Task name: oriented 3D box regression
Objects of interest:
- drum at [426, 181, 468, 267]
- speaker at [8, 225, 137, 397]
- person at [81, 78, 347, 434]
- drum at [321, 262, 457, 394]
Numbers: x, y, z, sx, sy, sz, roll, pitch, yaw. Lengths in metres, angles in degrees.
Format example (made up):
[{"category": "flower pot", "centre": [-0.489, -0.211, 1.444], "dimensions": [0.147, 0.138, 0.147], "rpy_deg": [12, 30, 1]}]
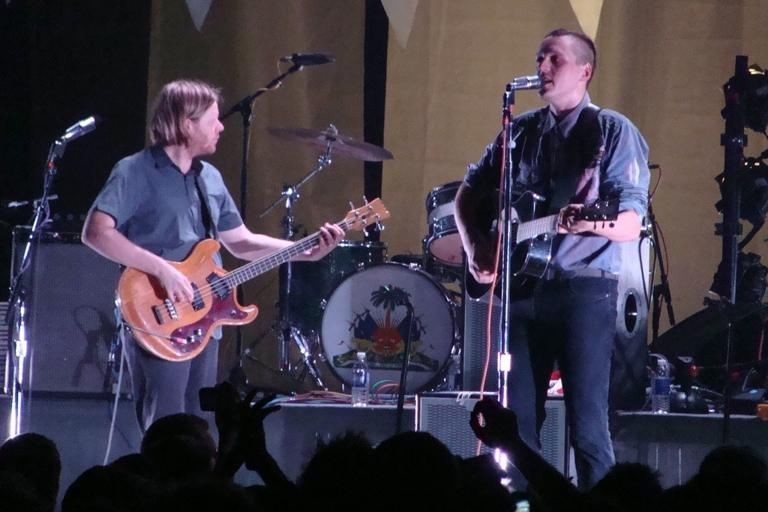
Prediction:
[{"category": "drum", "centre": [0.508, -0.341, 8.228], "dimensions": [0.344, 0.358, 0.360], "rpy_deg": [-11, 3, 2]}, {"category": "speaker", "centre": [-2.568, 0.396, 8.466], "dimensions": [1.184, 1.310, 1.226], "rpy_deg": [0, 8, -3]}, {"category": "person", "centre": [-1.309, 0.001, 6.816], "dimensions": [1.346, 2.344, 0.512], "rpy_deg": [9, -10, -42]}, {"category": "drum", "centre": [0.047, 0.585, 7.973], "dimensions": [0.934, 0.989, 0.387], "rpy_deg": [-3, -5, 11]}]
